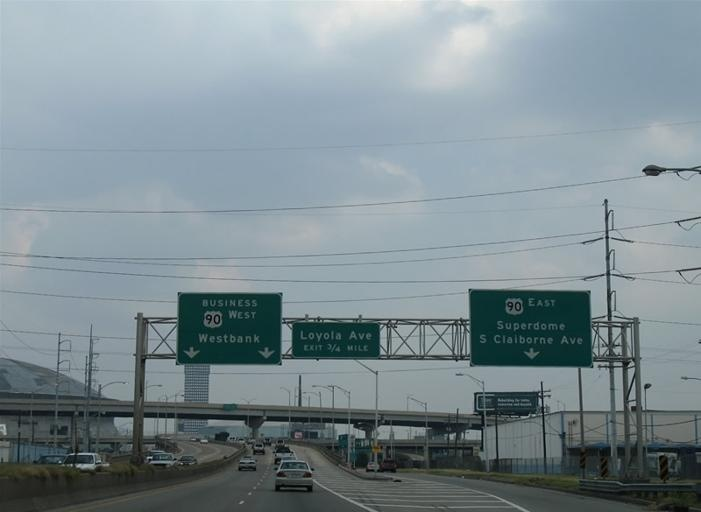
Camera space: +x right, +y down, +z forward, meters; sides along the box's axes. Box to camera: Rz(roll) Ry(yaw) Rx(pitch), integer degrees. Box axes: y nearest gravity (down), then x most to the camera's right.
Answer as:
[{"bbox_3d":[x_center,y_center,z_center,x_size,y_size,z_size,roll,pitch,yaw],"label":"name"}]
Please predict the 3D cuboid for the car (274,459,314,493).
[{"bbox_3d":[-5.332,20.566,140.351,3.425,3.096,2.682,0,-13,-5],"label":"car"}]
